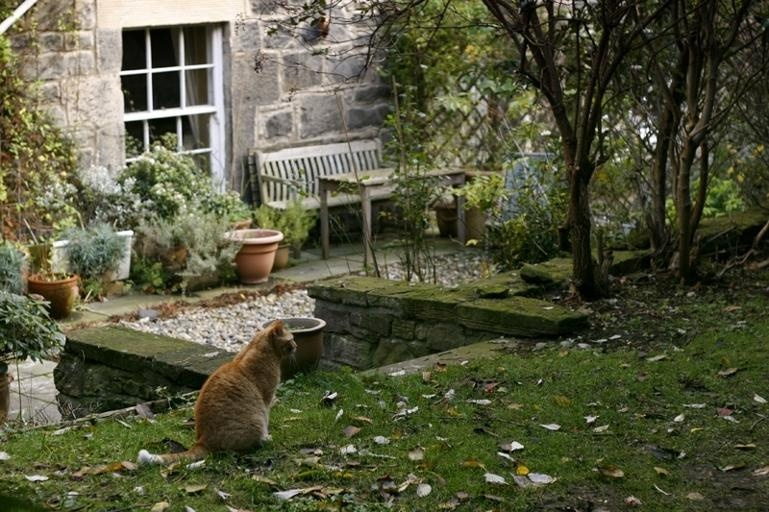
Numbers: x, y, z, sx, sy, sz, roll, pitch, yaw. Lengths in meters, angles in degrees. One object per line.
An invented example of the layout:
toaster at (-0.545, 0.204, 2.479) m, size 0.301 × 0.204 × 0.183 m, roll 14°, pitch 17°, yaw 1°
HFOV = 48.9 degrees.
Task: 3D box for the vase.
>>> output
vase at (-0.750, 0.687, 6.717) m, size 0.455 × 0.392 × 0.483 m, roll 1°, pitch 5°, yaw 25°

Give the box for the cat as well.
cat at (-0.913, 0.902, 5.428) m, size 0.773 × 0.908 × 1.297 m, roll 1°, pitch 3°, yaw 27°

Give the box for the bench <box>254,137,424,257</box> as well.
bench at (-0.691, -1.085, 11.151) m, size 1.030 × 1.712 × 2.700 m, roll 8°, pitch 15°, yaw 43°
